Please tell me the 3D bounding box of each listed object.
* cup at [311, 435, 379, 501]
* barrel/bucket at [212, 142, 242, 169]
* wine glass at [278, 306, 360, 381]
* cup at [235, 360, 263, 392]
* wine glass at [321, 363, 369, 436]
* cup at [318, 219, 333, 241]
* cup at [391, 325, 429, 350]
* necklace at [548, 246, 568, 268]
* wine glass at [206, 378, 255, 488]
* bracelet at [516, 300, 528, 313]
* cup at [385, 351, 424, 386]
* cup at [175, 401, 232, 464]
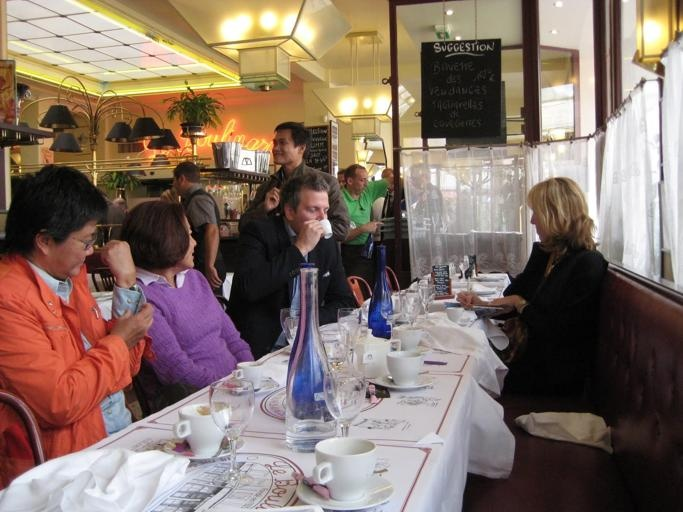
[{"bbox_3d":[0.001,0.443,1.067,0.136,0.102,0.121,-9,8,-43],"label":"cup"},{"bbox_3d":[-1.331,-1.148,6.086,0.305,0.290,0.299,-1,4,0],"label":"barrel/bucket"},{"bbox_3d":[-0.024,0.275,1.714,0.167,0.190,0.220,0,-9,1],"label":"wine glass"},{"bbox_3d":[-0.295,0.368,1.650,0.080,0.097,0.124,0,3,17],"label":"cup"},{"bbox_3d":[0.006,0.370,1.278,0.100,0.192,0.165,-4,6,-9],"label":"wine glass"},{"bbox_3d":[-0.079,-0.133,2.660,0.061,0.070,0.087,-4,-25,-8],"label":"cup"},{"bbox_3d":[0.251,0.307,1.950,0.086,0.071,0.098,1,-8,-7],"label":"cup"},{"bbox_3d":[1.278,0.011,3.068,0.072,0.136,0.130,1,8,18],"label":"necklace"},{"bbox_3d":[-0.246,0.392,1.172,0.097,0.198,0.128,-4,6,-8],"label":"wine glass"},{"bbox_3d":[1.030,0.294,2.942,0.056,0.060,0.057,1,6,-1],"label":"bracelet"},{"bbox_3d":[0.200,0.349,1.581,0.081,0.079,0.110,-2,-12,4],"label":"cup"},{"bbox_3d":[-0.335,0.427,1.263,0.089,0.088,0.121,1,5,7],"label":"cup"}]
